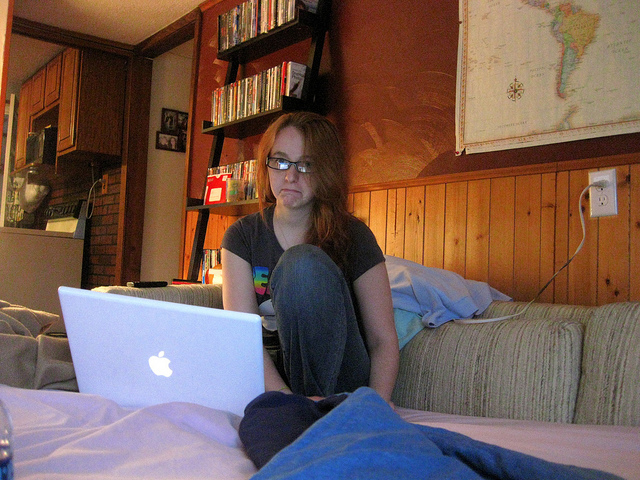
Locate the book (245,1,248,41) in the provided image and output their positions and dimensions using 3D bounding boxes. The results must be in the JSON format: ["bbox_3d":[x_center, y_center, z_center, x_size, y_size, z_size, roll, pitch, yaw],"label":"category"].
[{"bbox_3d":[-0.464,-1.401,3.230,0.011,0.219,0.071,-1,-2,-20],"label":"book"}]

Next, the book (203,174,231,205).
[{"bbox_3d":[-0.698,-0.350,3.422,0.027,0.227,0.223,22,22,32],"label":"book"}]

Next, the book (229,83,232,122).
[{"bbox_3d":[-0.581,-0.909,3.321,0.021,0.247,0.045,-1,-2,-10],"label":"book"}]

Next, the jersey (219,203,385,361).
[{"bbox_3d":[-0.086,0.106,1.816,0.466,0.513,0.277,-9,-13,-21],"label":"jersey"}]

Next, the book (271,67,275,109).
[{"bbox_3d":[-0.275,-0.901,2.985,0.012,0.235,0.035,0,-3,-43],"label":"book"}]

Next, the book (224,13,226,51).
[{"bbox_3d":[-0.636,-1.413,3.419,0.013,0.226,0.053,-1,-2,-11],"label":"book"}]

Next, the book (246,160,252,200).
[{"bbox_3d":[-0.444,-0.376,3.169,0.033,0.238,0.036,-2,-2,17],"label":"book"}]

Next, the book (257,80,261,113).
[{"bbox_3d":[-0.366,-0.872,3.079,0.005,0.166,0.035,0,-3,-43],"label":"book"}]

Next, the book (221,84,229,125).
[{"bbox_3d":[-0.628,-0.897,3.363,0.035,0.378,0.270,0,1,-14],"label":"book"}]

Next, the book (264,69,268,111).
[{"bbox_3d":[-0.319,-0.905,3.039,0.033,0.231,0.008,-3,-3,44],"label":"book"}]

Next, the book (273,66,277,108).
[{"bbox_3d":[-0.260,-0.903,2.969,0.045,0.239,0.014,-3,-3,45],"label":"book"}]

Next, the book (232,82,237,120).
[{"bbox_3d":[-0.548,-0.905,3.283,0.023,0.239,0.063,-1,-2,-27],"label":"book"}]

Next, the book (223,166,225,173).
[{"bbox_3d":[-0.645,-0.480,3.423,0.009,0.045,0.044,-1,-2,-10],"label":"book"}]

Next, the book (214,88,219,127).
[{"bbox_3d":[-0.696,-0.903,3.438,0.032,0.252,0.063,-1,-2,-19],"label":"book"}]

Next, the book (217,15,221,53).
[{"bbox_3d":[-0.682,-1.421,3.471,0.011,0.219,0.063,-1,-2,-26],"label":"book"}]

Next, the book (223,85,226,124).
[{"bbox_3d":[-0.629,-0.914,3.371,0.014,0.235,0.038,0,-3,-42],"label":"book"}]

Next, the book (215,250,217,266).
[{"bbox_3d":[-0.714,0.119,3.501,0.015,0.104,0.056,-1,-2,-15],"label":"book"}]

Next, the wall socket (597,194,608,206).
[{"bbox_3d":[1.078,-0.153,1.927,0.006,0.049,0.037,12,-13,-34],"label":"wall socket"}]

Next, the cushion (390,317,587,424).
[{"bbox_3d":[0.564,0.437,1.757,0.650,0.335,0.189,-3,-3,41],"label":"cushion"}]

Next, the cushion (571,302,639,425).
[{"bbox_3d":[0.826,0.369,1.458,0.099,0.304,0.301,12,-5,-2],"label":"cushion"}]

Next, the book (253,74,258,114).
[{"bbox_3d":[-0.387,-0.902,3.101,0.004,0.228,0.042,0,-3,-44],"label":"book"}]

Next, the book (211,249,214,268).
[{"bbox_3d":[-0.740,0.126,3.514,0.012,0.109,0.031,0,-2,-34],"label":"book"}]

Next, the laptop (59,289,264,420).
[{"bbox_3d":[-0.367,0.265,1.192,0.421,0.318,0.308,3,8,16],"label":"laptop"}]

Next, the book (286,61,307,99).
[{"bbox_3d":[-0.132,-0.920,2.889,0.040,0.174,0.169,9,5,27],"label":"book"}]

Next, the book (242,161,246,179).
[{"bbox_3d":[-0.479,-0.444,3.230,0.009,0.100,0.035,0,-3,-40],"label":"book"}]

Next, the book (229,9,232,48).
[{"bbox_3d":[-0.591,-1.411,3.367,0.016,0.208,0.083,-1,-2,-10],"label":"book"}]

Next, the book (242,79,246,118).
[{"bbox_3d":[-0.475,-0.904,3.203,0.005,0.228,0.047,0,-3,-41],"label":"book"}]

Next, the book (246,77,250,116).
[{"bbox_3d":[-0.447,-0.903,3.171,0.007,0.223,0.047,0,-2,-36],"label":"book"}]

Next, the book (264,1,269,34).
[{"bbox_3d":[-0.324,-1.360,3.074,0.009,0.191,0.046,0,-2,-32],"label":"book"}]

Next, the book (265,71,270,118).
[{"bbox_3d":[-0.310,-0.901,3.028,0.013,0.236,0.048,0,-2,-35],"label":"book"}]
